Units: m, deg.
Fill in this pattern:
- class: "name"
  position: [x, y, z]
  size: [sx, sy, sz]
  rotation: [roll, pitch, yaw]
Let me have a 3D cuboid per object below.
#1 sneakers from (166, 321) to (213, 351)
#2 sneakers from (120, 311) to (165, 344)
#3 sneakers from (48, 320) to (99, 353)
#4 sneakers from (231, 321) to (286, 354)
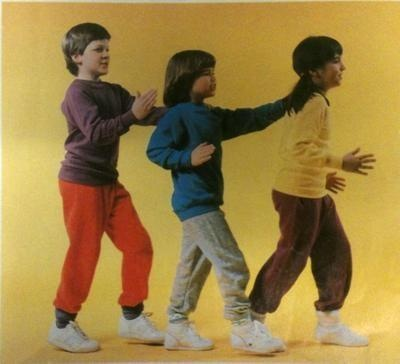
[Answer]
- class: "sneakers"
  position: [-0.076, 0.792, 2.765]
  size: [0.308, 0.179, 0.106]
  rotation: [1, -3, -5]
- class: "sneakers"
  position: [-0.310, 0.766, 2.851]
  size: [0.271, 0.156, 0.099]
  rotation: [3, -6, -3]
- class: "sneakers"
  position: [-0.667, 0.803, 2.818]
  size: [0.298, 0.138, 0.125]
  rotation: [8, -4, 16]
- class: "sneakers"
  position: [0.287, 0.773, 2.705]
  size: [0.243, 0.117, 0.140]
  rotation: [1, -3, 6]
